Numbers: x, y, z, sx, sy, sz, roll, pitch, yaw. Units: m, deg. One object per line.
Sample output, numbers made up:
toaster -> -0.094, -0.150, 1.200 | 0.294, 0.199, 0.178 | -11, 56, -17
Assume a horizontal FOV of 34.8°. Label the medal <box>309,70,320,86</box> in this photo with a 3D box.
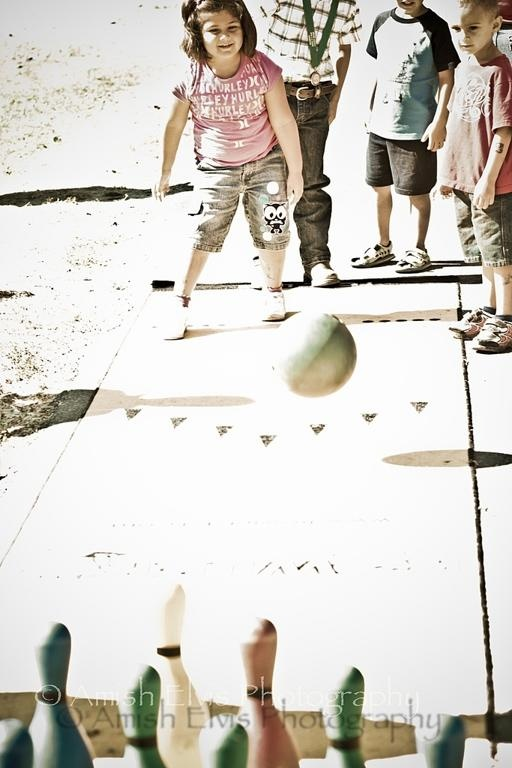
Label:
medal -> 0.140, -0.740, 1.984 | 0.029, 0.036, 0.010 | -8, 10, -30
